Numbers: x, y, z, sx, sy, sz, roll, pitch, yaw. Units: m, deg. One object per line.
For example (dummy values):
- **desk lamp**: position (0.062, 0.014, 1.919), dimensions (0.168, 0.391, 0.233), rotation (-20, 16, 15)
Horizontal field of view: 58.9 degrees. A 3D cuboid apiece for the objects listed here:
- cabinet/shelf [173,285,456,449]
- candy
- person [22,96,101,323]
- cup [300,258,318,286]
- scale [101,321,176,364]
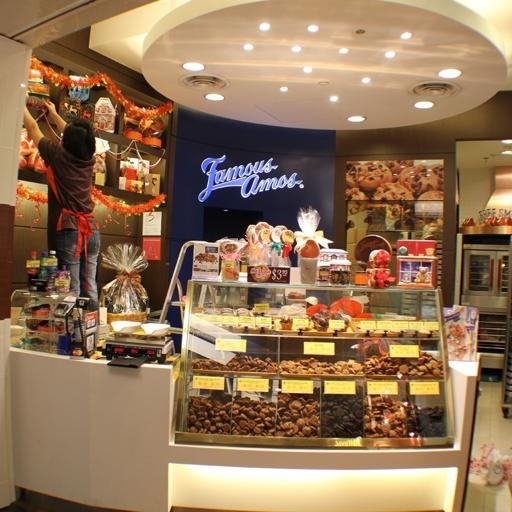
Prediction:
- **cabinet/shelf**: position (0.315, 0.639, 2.728), dimensions (1.628, 0.792, 0.572), rotation (6, 1, -14)
- **candy**: position (-0.002, -0.071, 2.761), dimensions (0.465, 0.264, 0.212), rotation (2, -2, 6)
- **person**: position (-1.503, -0.460, 3.873), dimensions (0.569, 1.984, 0.707), rotation (-2, 10, -38)
- **cup**: position (0.325, 0.091, 2.772), dimensions (0.116, 0.158, 0.052), rotation (2, -3, 18)
- **scale**: position (-0.657, 0.495, 2.676), dimensions (0.339, 0.144, 0.255), rotation (1, -4, 5)
